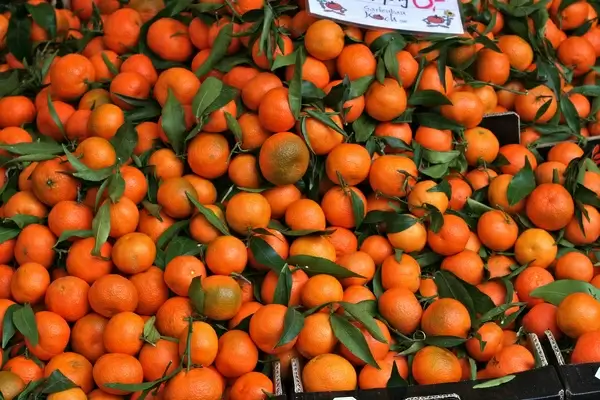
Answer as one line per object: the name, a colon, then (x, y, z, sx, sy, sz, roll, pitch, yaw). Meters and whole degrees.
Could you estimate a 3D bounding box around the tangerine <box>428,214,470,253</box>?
tangerine: (0.630, 0.151, 2.176, 0.155, 0.158, 0.152, 0, 7, -30)

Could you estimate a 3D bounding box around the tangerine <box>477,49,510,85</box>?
tangerine: (0.930, -0.632, 2.439, 0.163, 0.138, 0.129, 21, 52, 11)

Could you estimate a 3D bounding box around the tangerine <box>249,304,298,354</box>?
tangerine: (-0.122, 0.480, 1.896, 0.135, 0.111, 0.141, 3, 51, -3)

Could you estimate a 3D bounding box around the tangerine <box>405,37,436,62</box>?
tangerine: (0.570, -0.692, 2.330, 0.117, 0.106, 0.103, 5, 14, 7)

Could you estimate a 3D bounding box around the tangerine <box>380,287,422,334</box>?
tangerine: (0.392, 0.444, 2.020, 0.152, 0.149, 0.182, -9, 41, 33)

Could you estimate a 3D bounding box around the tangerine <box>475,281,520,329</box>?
tangerine: (0.783, 0.424, 2.002, 0.102, 0.126, 0.107, -30, 34, 10)

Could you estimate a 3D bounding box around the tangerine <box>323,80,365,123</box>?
tangerine: (0.191, -0.400, 2.209, 0.169, 0.181, 0.182, -5, 52, 2)

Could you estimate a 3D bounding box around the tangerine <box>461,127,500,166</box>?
tangerine: (0.831, -0.246, 2.366, 0.165, 0.156, 0.165, 50, 36, -17)

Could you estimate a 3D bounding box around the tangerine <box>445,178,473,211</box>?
tangerine: (0.700, -0.039, 2.292, 0.119, 0.153, 0.124, 6, 14, -4)

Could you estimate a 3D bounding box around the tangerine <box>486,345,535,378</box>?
tangerine: (0.787, 0.597, 1.895, 0.128, 0.129, 0.130, -23, 32, -17)

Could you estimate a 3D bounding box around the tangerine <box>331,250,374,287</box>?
tangerine: (0.216, 0.266, 2.087, 0.128, 0.109, 0.136, 6, 19, 39)

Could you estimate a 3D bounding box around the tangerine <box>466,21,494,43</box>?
tangerine: (0.871, -0.812, 2.445, 0.116, 0.099, 0.098, 37, 25, 16)

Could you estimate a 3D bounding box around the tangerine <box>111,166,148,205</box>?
tangerine: (-0.684, -0.056, 2.117, 0.133, 0.133, 0.133, -33, 88, -1)

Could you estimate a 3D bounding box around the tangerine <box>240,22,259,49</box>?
tangerine: (-0.230, -0.734, 2.233, 0.084, 0.111, 0.089, 2, 15, -3)

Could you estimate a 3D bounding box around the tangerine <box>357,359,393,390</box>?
tangerine: (0.275, 0.652, 1.862, 0.095, 0.101, 0.094, -8, 16, -34)

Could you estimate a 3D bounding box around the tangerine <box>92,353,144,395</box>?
tangerine: (-0.665, 0.618, 1.828, 0.150, 0.118, 0.147, 9, 2, -12)

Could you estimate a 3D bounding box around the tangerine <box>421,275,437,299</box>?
tangerine: (0.528, 0.358, 2.111, 0.060, 0.063, 0.080, -26, 58, -21)

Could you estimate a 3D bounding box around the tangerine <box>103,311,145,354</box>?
tangerine: (-0.695, 0.508, 1.920, 0.101, 0.128, 0.105, -6, 0, 34)

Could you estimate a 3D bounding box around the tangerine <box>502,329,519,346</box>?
tangerine: (0.831, 0.542, 1.981, 0.053, 0.042, 0.075, 12, 51, 4)

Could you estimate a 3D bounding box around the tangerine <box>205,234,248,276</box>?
tangerine: (-0.290, 0.224, 2.060, 0.141, 0.148, 0.154, 12, 19, 15)

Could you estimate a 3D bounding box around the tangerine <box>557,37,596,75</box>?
tangerine: (1.451, -0.752, 2.649, 0.128, 0.128, 0.153, 27, 24, -17)

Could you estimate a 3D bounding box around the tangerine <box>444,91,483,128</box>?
tangerine: (0.785, -0.426, 2.362, 0.168, 0.195, 0.191, -2, -1, -5)

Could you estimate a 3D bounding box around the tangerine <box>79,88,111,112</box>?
tangerine: (-0.969, -0.475, 2.371, 0.113, 0.117, 0.117, -4, 66, -14)

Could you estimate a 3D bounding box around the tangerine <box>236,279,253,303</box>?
tangerine: (-0.217, 0.375, 2.053, 0.076, 0.079, 0.081, 25, 80, -1)

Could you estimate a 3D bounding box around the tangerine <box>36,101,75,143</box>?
tangerine: (-1.147, -0.359, 2.361, 0.146, 0.146, 0.150, 60, 27, 6)

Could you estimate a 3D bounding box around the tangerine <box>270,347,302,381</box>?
tangerine: (-0.061, 0.610, 1.959, 0.105, 0.112, 0.107, -3, 23, -18)

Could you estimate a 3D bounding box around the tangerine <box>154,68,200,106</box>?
tangerine: (-0.532, -0.485, 2.260, 0.171, 0.166, 0.178, -12, 78, -48)

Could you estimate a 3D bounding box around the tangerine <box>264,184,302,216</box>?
tangerine: (-0.080, -0.016, 2.207, 0.148, 0.129, 0.135, -13, 89, -3)

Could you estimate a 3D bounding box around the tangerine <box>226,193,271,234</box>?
tangerine: (-0.209, 0.052, 2.124, 0.161, 0.161, 0.170, 14, 73, -19)

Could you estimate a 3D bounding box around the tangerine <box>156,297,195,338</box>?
tangerine: (-0.507, 0.475, 1.984, 0.129, 0.133, 0.169, 13, 72, -19)

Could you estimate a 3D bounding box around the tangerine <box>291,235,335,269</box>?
tangerine: (0.046, 0.250, 2.062, 0.153, 0.133, 0.124, 13, 18, -18)

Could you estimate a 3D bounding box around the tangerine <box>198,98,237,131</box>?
tangerine: (-0.336, -0.341, 2.142, 0.126, 0.128, 0.128, 18, 28, -41)

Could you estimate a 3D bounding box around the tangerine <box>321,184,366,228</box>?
tangerine: (0.206, 0.038, 2.187, 0.160, 0.178, 0.167, 25, 2, 11)

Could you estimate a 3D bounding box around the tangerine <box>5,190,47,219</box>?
tangerine: (-1.162, 0.024, 2.121, 0.148, 0.120, 0.131, 7, 65, -55)

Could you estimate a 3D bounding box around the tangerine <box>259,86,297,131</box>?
tangerine: (-0.095, -0.379, 2.136, 0.151, 0.196, 0.157, -5, 17, -42)

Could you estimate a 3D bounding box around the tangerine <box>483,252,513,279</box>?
tangerine: (0.864, 0.282, 2.187, 0.106, 0.128, 0.110, -1, 8, -11)

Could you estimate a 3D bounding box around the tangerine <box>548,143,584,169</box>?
tangerine: (1.285, -0.228, 2.431, 0.125, 0.134, 0.125, 18, 21, 23)

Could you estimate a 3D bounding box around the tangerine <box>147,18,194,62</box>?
tangerine: (-0.613, -0.748, 2.376, 0.168, 0.166, 0.163, 60, 18, 11)

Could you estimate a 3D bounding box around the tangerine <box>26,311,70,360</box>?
tangerine: (-0.959, 0.521, 1.932, 0.122, 0.099, 0.144, 5, 51, -2)

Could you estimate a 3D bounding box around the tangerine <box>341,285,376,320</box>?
tangerine: (0.224, 0.429, 2.021, 0.102, 0.128, 0.103, -19, 40, -28)

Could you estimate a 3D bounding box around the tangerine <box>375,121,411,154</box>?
tangerine: (0.412, -0.307, 2.262, 0.139, 0.150, 0.143, -1, 42, 0)

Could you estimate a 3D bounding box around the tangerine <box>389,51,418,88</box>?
tangerine: (0.482, -0.612, 2.332, 0.143, 0.184, 0.149, 5, 19, 37)

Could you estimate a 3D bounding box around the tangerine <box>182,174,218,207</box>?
tangerine: (-0.420, -0.048, 2.153, 0.121, 0.127, 0.144, -23, 47, -35)

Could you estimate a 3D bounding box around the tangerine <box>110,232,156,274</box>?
tangerine: (-0.653, 0.212, 2.045, 0.135, 0.155, 0.160, 4, 50, 8)
